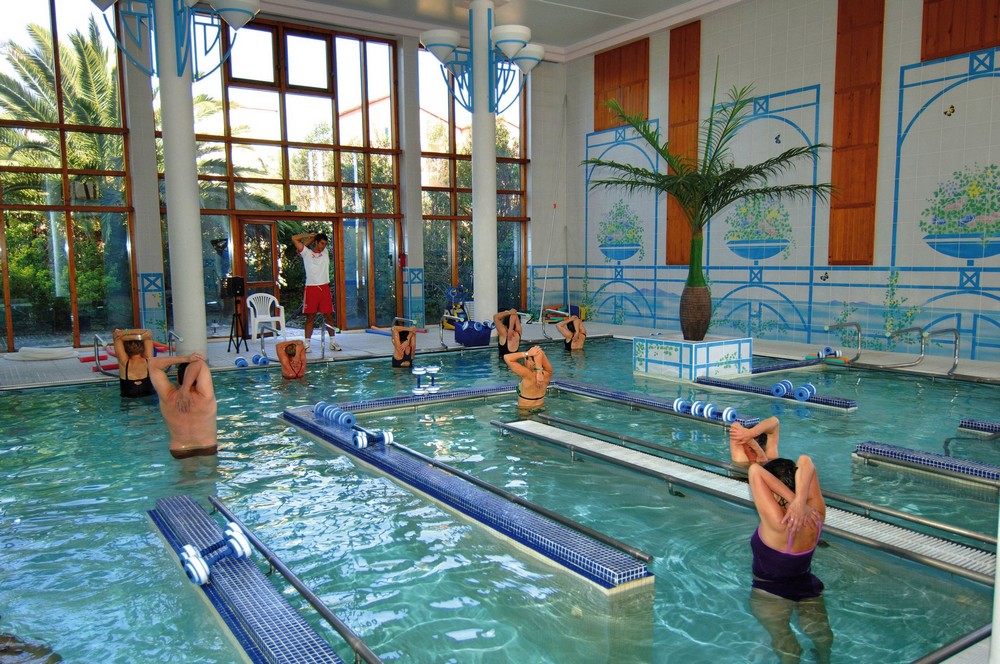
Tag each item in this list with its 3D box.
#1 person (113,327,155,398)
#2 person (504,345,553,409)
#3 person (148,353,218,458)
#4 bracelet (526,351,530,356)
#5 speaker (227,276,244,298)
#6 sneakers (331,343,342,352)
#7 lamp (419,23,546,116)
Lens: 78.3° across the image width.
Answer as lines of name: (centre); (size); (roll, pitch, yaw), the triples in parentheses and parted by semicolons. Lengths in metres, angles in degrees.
person: (-4.856, 0.425, 8.241); (0.420, 0.934, 0.650); (-8, 7, -32)
person: (0.357, 0.581, 7.841); (0.528, 0.785, 0.419); (-4, 6, 0)
person: (-3.169, 0.750, 6.228); (0.549, 1.056, 0.492); (-7, 7, -28)
bracelet: (0.350, 0.268, 7.713); (0.068, 0.062, 0.021); (-1, 7, 29)
speaker: (-4.843, -0.846, 11.411); (0.135, 0.350, 0.334); (-1, 6, 26)
sneakers: (-3.044, 0.268, 11.496); (0.119, 0.125, 0.294); (-3, 2, -38)
lamp: (-0.309, -5.409, 12.382); (2.502, 1.767, 2.598); (0, 8, -6)
